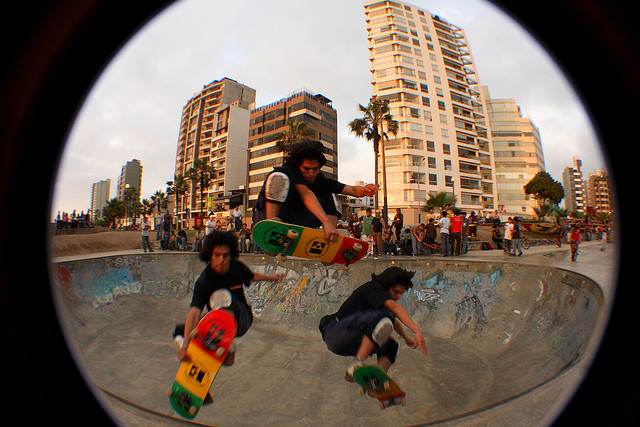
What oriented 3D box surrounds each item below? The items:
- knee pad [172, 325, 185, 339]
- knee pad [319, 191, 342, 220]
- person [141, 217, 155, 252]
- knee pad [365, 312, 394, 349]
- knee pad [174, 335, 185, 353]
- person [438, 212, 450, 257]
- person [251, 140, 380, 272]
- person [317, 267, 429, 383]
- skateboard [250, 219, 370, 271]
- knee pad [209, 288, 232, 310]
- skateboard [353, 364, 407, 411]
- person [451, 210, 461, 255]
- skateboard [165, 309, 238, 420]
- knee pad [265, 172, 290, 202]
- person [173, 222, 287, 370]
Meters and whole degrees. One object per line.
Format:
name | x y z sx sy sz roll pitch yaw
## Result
knee pad | -1.180 0.977 3.224 0.082 0.108 0.106 5 -9 -40
knee pad | 0.166 -0.105 4.156 0.181 0.252 0.258 2 -8 -4
person | -4.918 0.593 10.911 0.231 1.047 0.987 -5 6 -24
knee pad | 0.506 0.968 3.222 0.094 0.294 0.206 28 11 -49
knee pad | -1.154 1.052 3.171 0.110 0.122 0.120 -2 -6 -18
person | 3.039 0.478 9.225 0.217 1.061 0.372 -1 6 19
person | -0.144 -0.093 4.043 1.369 1.303 1.060 7 -16 -25
person | 0.520 0.985 3.452 0.904 1.170 0.605 -8 -45 23
skateboard | 0.166 0.304 3.897 1.682 0.469 0.255 7 24 -16
knee pad | -0.865 0.732 3.372 0.201 0.136 0.229 -6 6 -33
skateboard | 0.477 1.265 3.026 0.425 0.266 0.115 36 20 16
person | 3.350 0.445 9.357 0.231 1.054 0.323 -1 6 16
skateboard | -0.874 1.080 3.120 0.331 1.003 0.144 25 -10 5
knee pad | -0.396 -0.251 3.716 0.195 0.286 0.074 10 -5 3
person | -1.058 0.934 4.207 0.897 1.202 2.174 -8 -19 6
